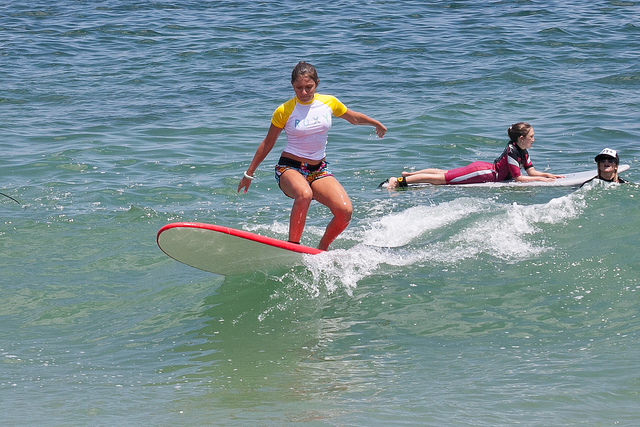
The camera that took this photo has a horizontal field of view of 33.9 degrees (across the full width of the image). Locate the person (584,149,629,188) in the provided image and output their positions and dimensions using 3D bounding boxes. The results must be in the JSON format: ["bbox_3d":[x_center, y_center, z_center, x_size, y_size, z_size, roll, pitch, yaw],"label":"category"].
[{"bbox_3d":[5.589,-0.872,20.408,0.764,0.654,0.817,3,23,13],"label":"person"}]

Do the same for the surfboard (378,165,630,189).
[{"bbox_3d":[3.916,-0.749,21.904,4.538,0.291,0.669,-1,11,9],"label":"surfboard"}]

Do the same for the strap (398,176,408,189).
[{"bbox_3d":[1.749,-0.670,22.172,0.212,0.187,0.134,10,37,24],"label":"strap"}]
